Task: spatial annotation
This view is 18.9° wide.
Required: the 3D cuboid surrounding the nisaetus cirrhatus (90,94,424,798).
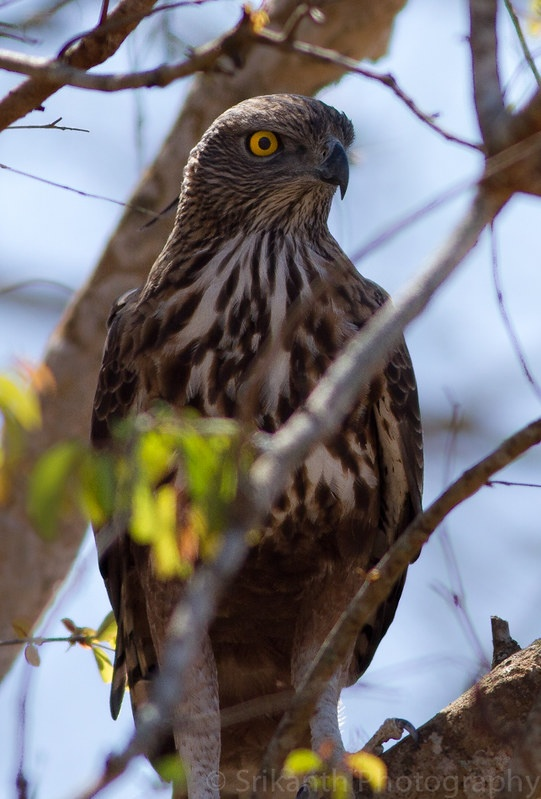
[{"bbox_3d":[-0.037,0.221,5.719,1.202,2.092,1.800,3,31,-7],"label":"nisaetus cirrhatus"}]
